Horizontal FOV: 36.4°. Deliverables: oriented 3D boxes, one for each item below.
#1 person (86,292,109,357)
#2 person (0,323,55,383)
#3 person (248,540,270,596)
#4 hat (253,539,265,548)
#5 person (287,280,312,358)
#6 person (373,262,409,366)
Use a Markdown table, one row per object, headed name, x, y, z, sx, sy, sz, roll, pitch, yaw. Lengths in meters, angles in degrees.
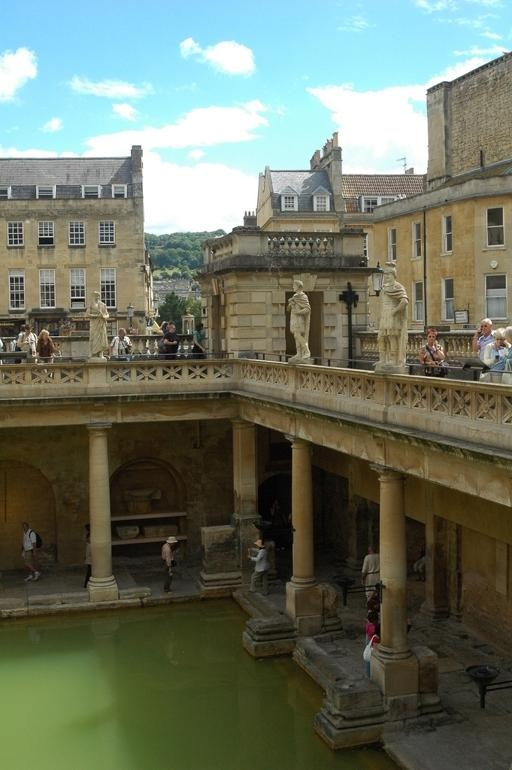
| name | x | y | z | sx | sy | sz | roll | pitch | yaw |
| --- | --- | --- | --- | --- | --- | --- | --- | --- | --- |
| person | -4.524 | -1.673 | 21.933 | 0.583 | 1.550 | 1.601 | -7 | 4 | -10 |
| person | -6.673 | -1.216 | 23.089 | 1.110 | 1.305 | 1.742 | -8 | 4 | -18 |
| person | 0.031 | 5.191 | 22.411 | 0.610 | 1.131 | 1.596 | -6 | 4 | -1 |
| hat | 0.085 | 4.557 | 22.065 | 0.355 | 0.167 | 0.399 | 27 | -3 | 19 |
| person | 0.981 | -1.493 | 18.306 | 0.518 | 1.310 | 1.333 | -6 | 4 | 3 |
| person | 2.250 | -1.138 | 13.152 | 0.608 | 1.868 | 0.671 | -6 | 3 | 0 |
